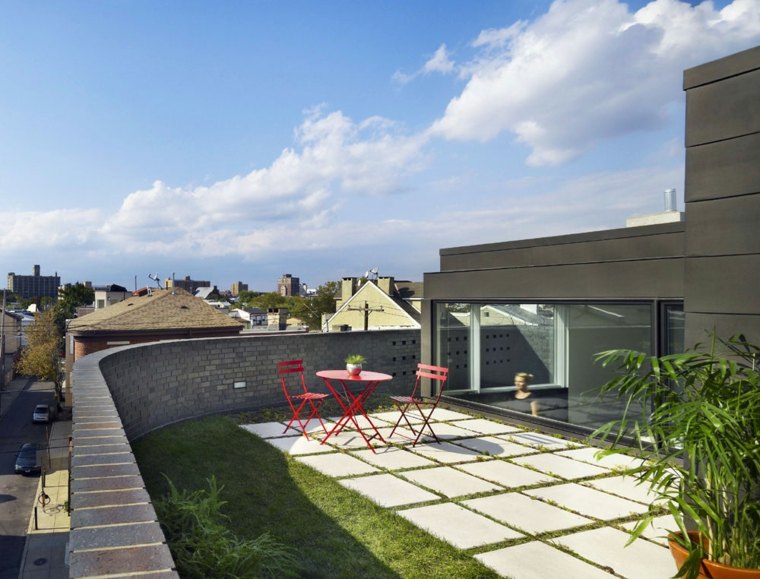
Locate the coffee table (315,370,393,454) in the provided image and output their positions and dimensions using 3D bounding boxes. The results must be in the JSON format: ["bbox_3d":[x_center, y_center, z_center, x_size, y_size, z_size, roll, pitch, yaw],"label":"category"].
[{"bbox_3d":[-0.438,1.921,8.813,1.069,1.015,1.015,13,-14,-18],"label":"coffee table"}]

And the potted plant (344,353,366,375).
[{"bbox_3d":[-0.356,1.173,8.471,0.327,0.333,0.331,2,-6,-22],"label":"potted plant"}]

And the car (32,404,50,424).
[{"bbox_3d":[-20.841,7.698,32.993,0.910,0.822,1.786,3,-4,-28],"label":"car"}]

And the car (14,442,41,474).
[{"bbox_3d":[-15.193,7.350,23.157,0.817,0.717,1.923,5,-8,-29],"label":"car"}]
